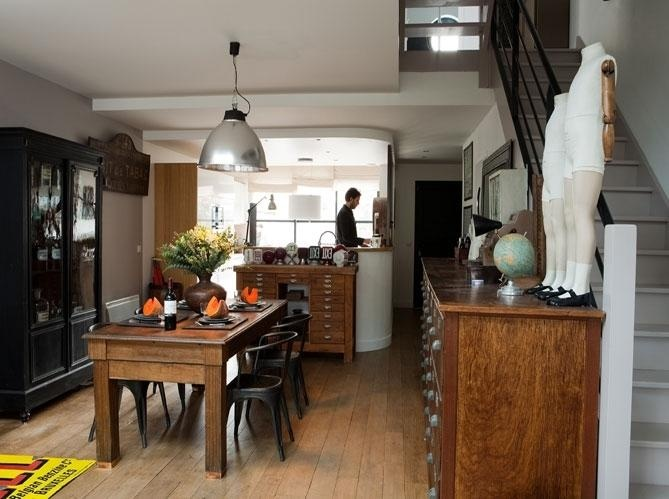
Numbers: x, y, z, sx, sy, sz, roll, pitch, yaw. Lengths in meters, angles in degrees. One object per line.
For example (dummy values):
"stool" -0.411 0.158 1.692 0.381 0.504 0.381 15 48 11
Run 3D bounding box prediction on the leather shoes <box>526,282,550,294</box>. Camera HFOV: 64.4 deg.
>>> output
"leather shoes" 1.177 0.221 3.022 0.153 0.069 0.054 -10 -7 -18

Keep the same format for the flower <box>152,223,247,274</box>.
"flower" -1.185 0.003 4.459 0.462 0.363 0.471 -3 1 -32

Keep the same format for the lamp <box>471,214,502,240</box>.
"lamp" 1.047 -0.161 3.622 0.160 0.086 0.153 -5 34 -1

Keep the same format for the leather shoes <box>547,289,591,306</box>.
"leather shoes" 1.194 0.240 2.729 0.227 0.099 0.091 2 -3 3

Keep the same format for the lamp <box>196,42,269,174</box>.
"lamp" -0.915 -1.274 4.780 0.556 1.132 1.439 -1 7 -10

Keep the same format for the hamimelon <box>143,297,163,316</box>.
"hamimelon" -1.414 0.451 4.095 0.131 0.153 0.139 1 3 -30

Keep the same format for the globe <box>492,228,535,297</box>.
"globe" 1.057 0.082 3.137 0.228 0.365 0.231 2 13 28

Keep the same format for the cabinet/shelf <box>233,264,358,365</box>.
"cabinet/shelf" -0.392 0.672 5.546 0.956 0.942 0.339 0 -2 6

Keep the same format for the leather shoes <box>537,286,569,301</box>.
"leather shoes" 1.176 0.233 2.833 0.139 0.059 0.054 -10 -2 -11

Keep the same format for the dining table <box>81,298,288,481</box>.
"dining table" -1.165 0.767 4.003 0.801 0.849 1.605 1 2 8

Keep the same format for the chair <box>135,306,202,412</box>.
"chair" -1.252 0.800 3.954 0.424 0.646 0.881 0 5 -3

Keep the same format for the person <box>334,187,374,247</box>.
"person" 0.212 -0.404 6.983 0.413 0.793 0.950 1 7 5

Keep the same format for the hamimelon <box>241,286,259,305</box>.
"hamimelon" -0.707 0.386 4.558 0.142 0.159 0.058 -21 -18 31

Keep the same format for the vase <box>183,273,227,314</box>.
"vase" -1.059 0.356 4.339 0.292 0.306 0.308 5 -3 -20
